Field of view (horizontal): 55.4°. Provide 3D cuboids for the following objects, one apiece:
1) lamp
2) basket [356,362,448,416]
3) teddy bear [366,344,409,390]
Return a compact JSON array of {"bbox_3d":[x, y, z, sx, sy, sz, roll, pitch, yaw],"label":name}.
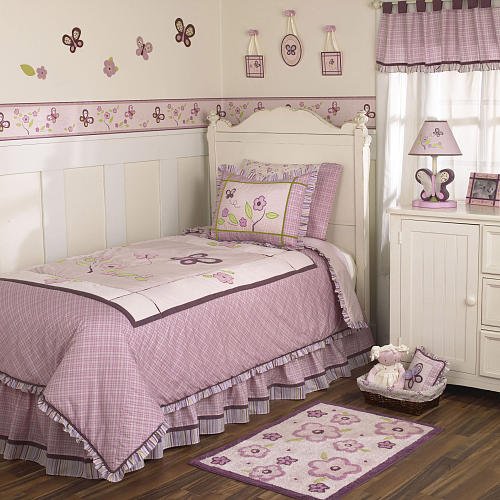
[{"bbox_3d":[1.005,-0.475,2.602,0.262,0.471,0.422,6,13,19],"label":"lamp"},{"bbox_3d":[0.714,0.670,2.297,0.285,0.085,0.211,2,7,40],"label":"basket"},{"bbox_3d":[0.684,0.593,2.380,0.239,0.220,0.149,4,0,-19],"label":"teddy bear"}]
